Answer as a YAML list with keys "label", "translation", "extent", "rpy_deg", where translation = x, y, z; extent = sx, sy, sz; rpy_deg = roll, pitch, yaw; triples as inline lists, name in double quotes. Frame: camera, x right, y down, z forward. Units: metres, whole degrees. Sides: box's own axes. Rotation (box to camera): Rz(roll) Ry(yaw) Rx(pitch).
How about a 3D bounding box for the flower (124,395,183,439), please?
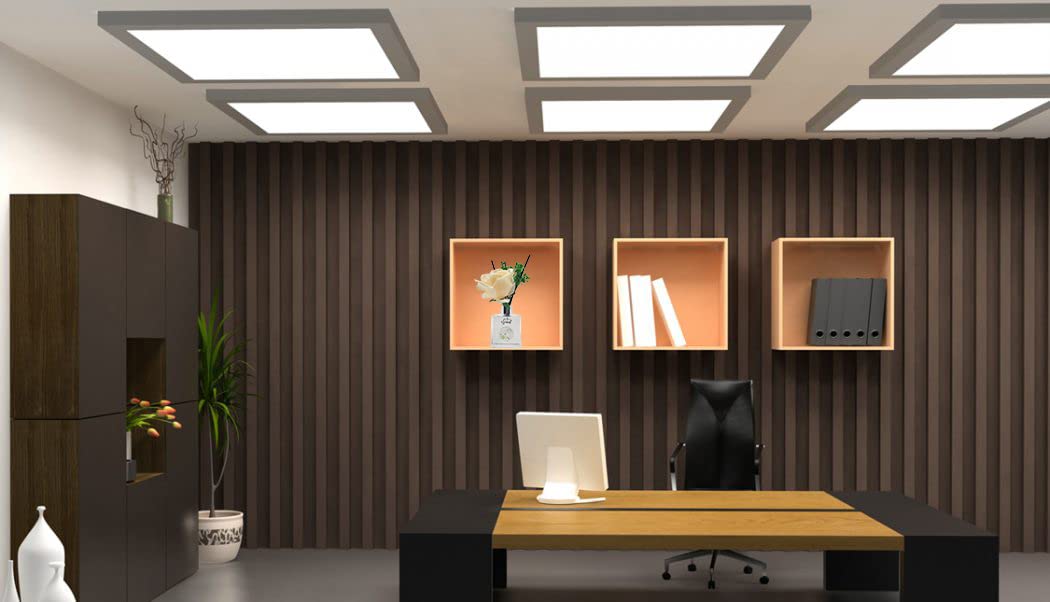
- label: "flower"
  translation: [-3.127, 0.990, 6.907]
  extent: [0.447, 0.209, 0.422]
  rpy_deg: [6, -7, 13]

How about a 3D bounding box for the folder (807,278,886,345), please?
- label: "folder"
  translation: [3.018, 0.111, 7.627]
  extent: [0.707, 0.622, 0.162]
  rpy_deg: [0, -8, -2]

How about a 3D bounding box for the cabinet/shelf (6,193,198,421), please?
- label: "cabinet/shelf"
  translation: [-3.426, 0.089, 6.526]
  extent: [0.634, 1.663, 2.064]
  rpy_deg: [-2, -4, 8]

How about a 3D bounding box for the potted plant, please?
- label: "potted plant"
  translation: [-2.894, 1.244, 7.795]
  extent: [0.491, 2.429, 0.758]
  rpy_deg: [2, -8, -18]

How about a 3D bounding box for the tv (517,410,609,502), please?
- label: "tv"
  translation: [0.276, 1.175, 6.131]
  extent: [0.920, 0.730, 0.338]
  rpy_deg: [-2, -4, 9]
